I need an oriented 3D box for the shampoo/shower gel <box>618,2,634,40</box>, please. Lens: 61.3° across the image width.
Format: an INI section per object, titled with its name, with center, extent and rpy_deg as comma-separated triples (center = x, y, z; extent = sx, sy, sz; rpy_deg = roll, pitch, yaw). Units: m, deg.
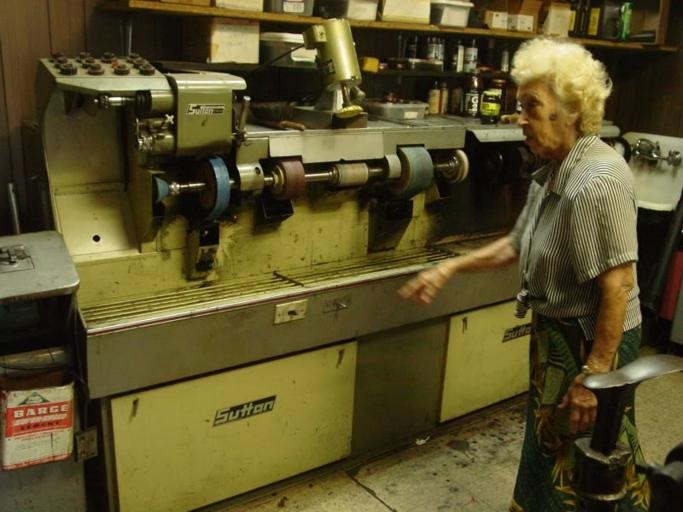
[shampoo/shower gel]
center = 1.830, -1.513, 3.707
extent = 0.065, 0.233, 0.164
rpy_deg = 3, 12, 42
